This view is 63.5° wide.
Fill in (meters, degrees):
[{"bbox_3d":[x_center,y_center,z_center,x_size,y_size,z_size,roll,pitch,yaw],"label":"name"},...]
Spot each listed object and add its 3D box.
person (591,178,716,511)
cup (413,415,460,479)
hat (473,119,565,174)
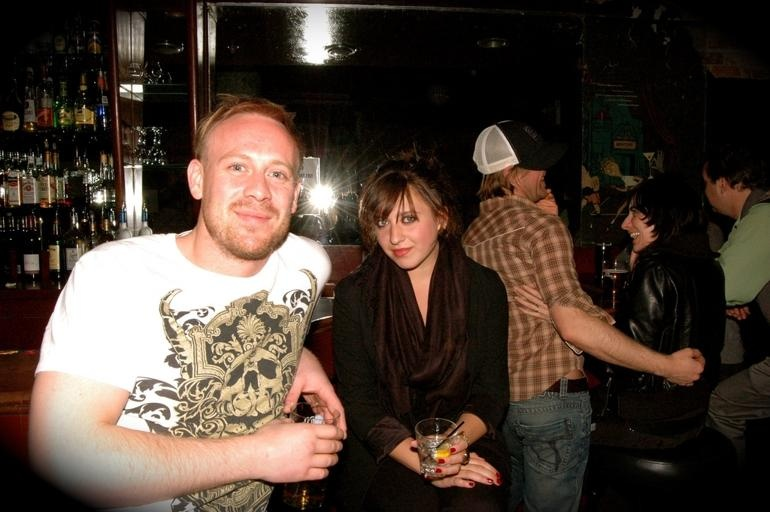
[{"bbox_3d":[1.615,0.513,3.791,0.809,2.031,0.622,-6,3,-38],"label":"person"},{"bbox_3d":[0.256,0.978,3.212,0.256,0.264,0.300,2,-5,7],"label":"cup"},{"bbox_3d":[0.863,-0.744,4.069,0.623,0.283,0.406,-7,33,20],"label":"hat"}]
